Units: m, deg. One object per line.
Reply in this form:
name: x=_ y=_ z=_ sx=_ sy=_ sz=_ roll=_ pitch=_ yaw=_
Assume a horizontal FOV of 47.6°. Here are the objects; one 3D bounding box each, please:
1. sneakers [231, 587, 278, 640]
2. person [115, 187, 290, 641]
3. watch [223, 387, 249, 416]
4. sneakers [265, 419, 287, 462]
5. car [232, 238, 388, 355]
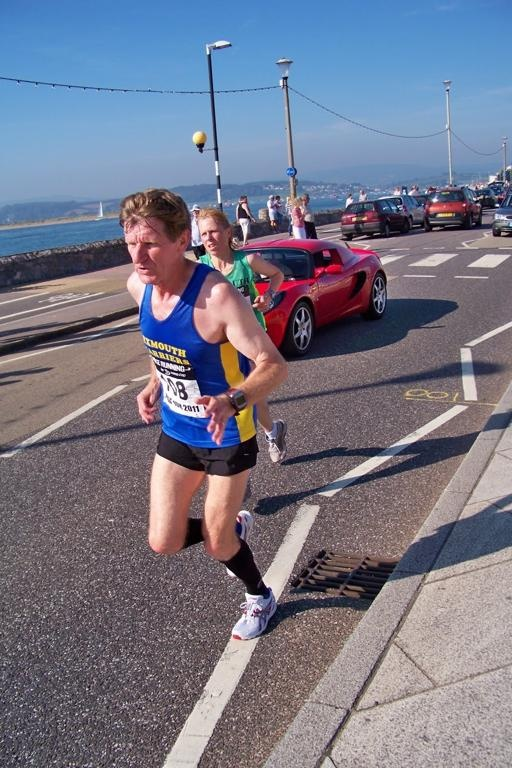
sneakers: x=-0.005 y=0.979 z=2.517 sx=0.116 sy=0.143 sz=0.303 roll=0 pitch=13 yaw=33
person: x=-0.164 y=0.231 z=2.137 sx=0.458 sy=1.821 sz=0.624 roll=-12 pitch=15 yaw=-30
watch: x=-0.059 y=0.053 z=1.811 sx=0.080 sy=0.086 sz=0.053 roll=-2 pitch=19 yaw=43
sneakers: x=0.170 y=0.430 z=4.363 sx=0.117 sy=0.345 sz=0.157 roll=1 pitch=7 yaw=33
car: x=0.792 y=-1.466 z=8.809 sx=1.395 sy=0.917 sz=2.532 roll=8 pitch=19 yaw=34
